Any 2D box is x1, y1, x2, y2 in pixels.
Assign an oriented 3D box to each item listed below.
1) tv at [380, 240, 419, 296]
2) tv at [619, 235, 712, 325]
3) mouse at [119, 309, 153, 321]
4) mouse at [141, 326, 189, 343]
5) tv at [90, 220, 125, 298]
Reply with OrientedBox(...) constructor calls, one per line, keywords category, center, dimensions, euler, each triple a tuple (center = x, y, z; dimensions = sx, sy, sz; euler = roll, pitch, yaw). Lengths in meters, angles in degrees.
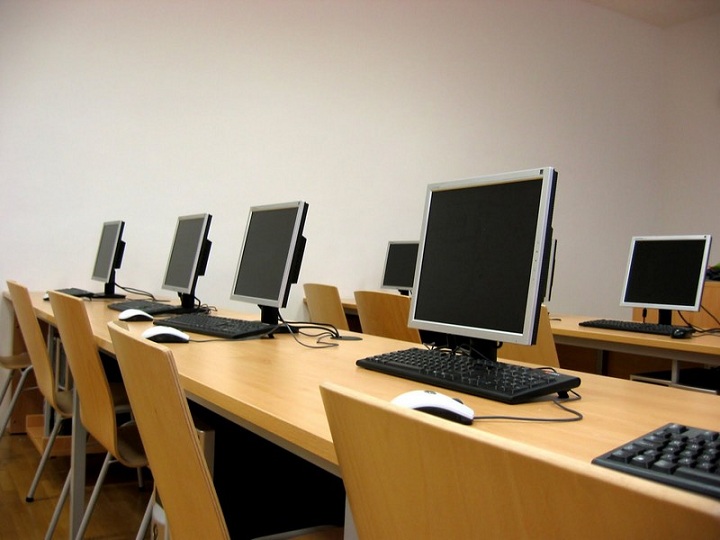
OrientedBox(category="tv", center=(0.279, -0.017, 3.809), dimensions=(0.135, 0.424, 0.421), euler=(16, -14, -36))
OrientedBox(category="tv", center=(1.628, 0.061, 2.847), dimensions=(0.241, 0.425, 0.524), euler=(10, -14, -30))
OrientedBox(category="mouse", center=(-0.919, 0.185, 2.188), dimensions=(0.061, 0.033, 0.103), euler=(10, 7, 42))
OrientedBox(category="mouse", center=(-0.588, 0.196, 1.634), dimensions=(0.146, 0.047, 0.089), euler=(2, 8, -39))
OrientedBox(category="tv", center=(-1.636, -0.078, 3.474), dimensions=(0.206, 0.585, 0.499), euler=(5, -5, -33))
